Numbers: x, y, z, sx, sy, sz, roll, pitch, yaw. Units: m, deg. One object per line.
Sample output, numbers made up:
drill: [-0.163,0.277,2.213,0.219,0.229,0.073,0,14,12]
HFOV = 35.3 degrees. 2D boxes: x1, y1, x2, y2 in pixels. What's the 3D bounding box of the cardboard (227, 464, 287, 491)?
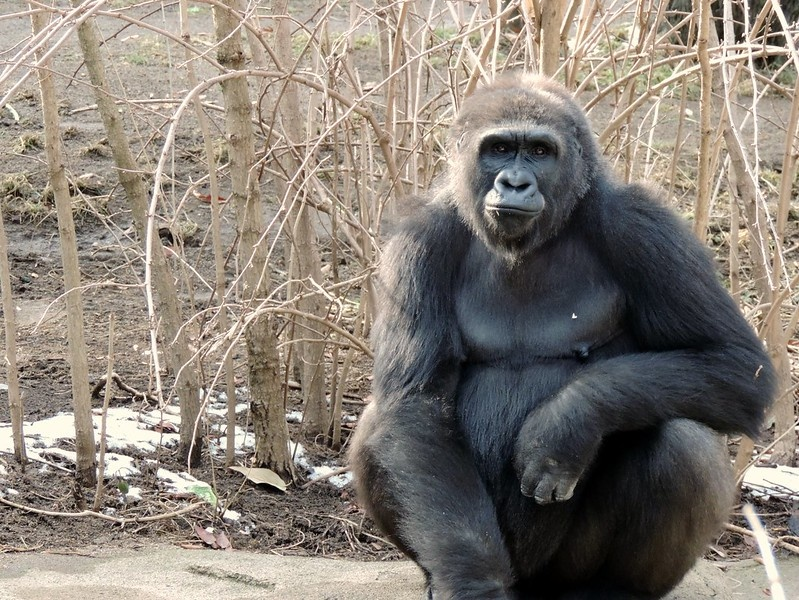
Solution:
cardboard: [-0.953,1.250,8.648,0.292,0.073,0.192,10,17,-29]
